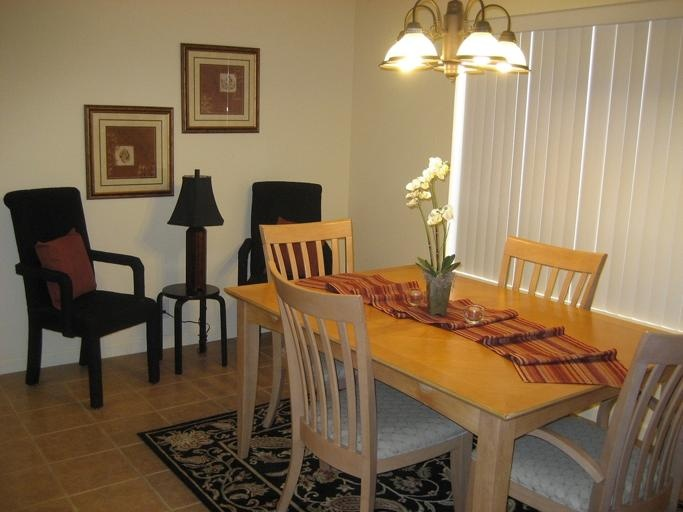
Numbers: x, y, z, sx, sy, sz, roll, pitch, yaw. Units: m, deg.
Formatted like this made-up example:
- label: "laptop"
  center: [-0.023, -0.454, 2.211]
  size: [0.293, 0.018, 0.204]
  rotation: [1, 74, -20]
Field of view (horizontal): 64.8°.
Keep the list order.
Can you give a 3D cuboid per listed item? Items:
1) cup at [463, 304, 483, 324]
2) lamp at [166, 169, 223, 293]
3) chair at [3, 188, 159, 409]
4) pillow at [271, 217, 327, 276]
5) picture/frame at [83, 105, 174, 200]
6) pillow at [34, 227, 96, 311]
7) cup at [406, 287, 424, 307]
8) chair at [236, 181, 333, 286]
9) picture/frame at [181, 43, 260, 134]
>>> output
- label: "cup"
  center: [0.608, 0.271, 2.487]
  size: [0.078, 0.068, 0.079]
  rotation: [0, 2, 0]
- label: "lamp"
  center: [-1.090, -0.177, 4.019]
  size: [0.368, 0.902, 0.266]
  rotation: [-8, 14, -28]
- label: "chair"
  center: [-1.757, 0.232, 3.653]
  size: [0.894, 1.354, 0.591]
  rotation: [4, 14, 25]
- label: "pillow"
  center: [-0.265, -0.092, 4.120]
  size: [0.474, 0.437, 0.114]
  rotation: [-8, -9, -41]
- label: "picture/frame"
  center: [-1.617, -0.789, 4.029]
  size: [0.675, 0.750, 0.051]
  rotation: [-5, 12, -31]
- label: "pillow"
  center: [-1.823, 0.105, 3.525]
  size: [0.222, 0.408, 0.438]
  rotation: [10, 15, 14]
- label: "cup"
  center: [0.364, 0.208, 2.661]
  size: [0.072, 0.071, 0.074]
  rotation: [-3, 7, 0]
- label: "chair"
  center: [-0.523, -0.181, 4.577]
  size: [0.787, 1.299, 0.835]
  rotation: [-1, 3, -8]
- label: "picture/frame"
  center: [-0.993, -1.355, 4.314]
  size: [0.720, 0.755, 0.053]
  rotation: [-5, 9, -38]
